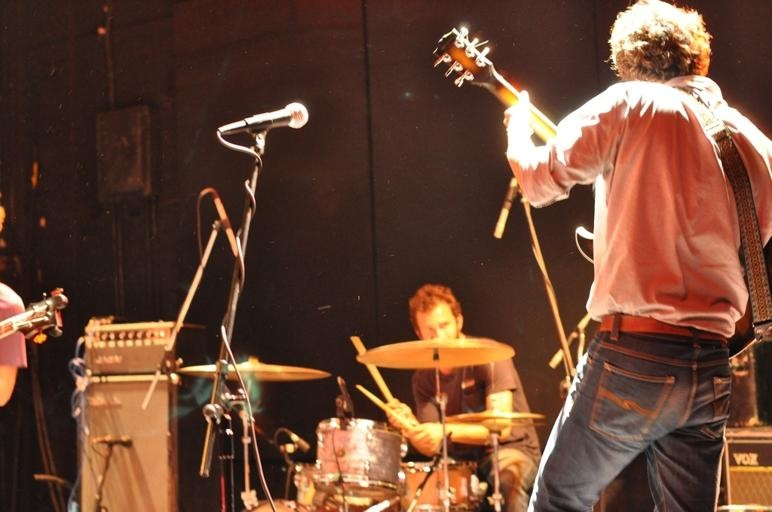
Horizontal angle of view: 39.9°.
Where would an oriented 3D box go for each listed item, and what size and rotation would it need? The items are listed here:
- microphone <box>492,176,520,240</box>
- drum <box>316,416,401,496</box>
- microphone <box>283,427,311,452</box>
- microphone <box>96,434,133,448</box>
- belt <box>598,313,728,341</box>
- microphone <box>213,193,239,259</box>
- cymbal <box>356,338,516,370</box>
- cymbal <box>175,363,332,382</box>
[{"bbox_3d":[0.718,-0.266,6.445,0.080,0.417,0.071,26,9,34],"label":"microphone"},{"bbox_3d":[-0.132,1.135,5.892,0.420,0.306,0.440,6,-23,2],"label":"drum"},{"bbox_3d":[-0.551,1.137,6.489,0.171,0.045,0.044,34,-31,10],"label":"microphone"},{"bbox_3d":[-1.592,1.093,6.233,0.090,0.043,0.160,6,1,25],"label":"microphone"},{"bbox_3d":[1.166,0.327,4.709,0.282,0.077,0.226,12,-5,1],"label":"belt"},{"bbox_3d":[-1.017,-0.163,6.652,0.110,0.054,0.517,-14,-48,4],"label":"microphone"},{"bbox_3d":[0.284,0.557,5.963,0.386,0.067,0.403,-12,-17,34],"label":"cymbal"},{"bbox_3d":[-0.775,0.688,6.344,0.931,0.139,0.640,1,-7,-12],"label":"cymbal"}]
